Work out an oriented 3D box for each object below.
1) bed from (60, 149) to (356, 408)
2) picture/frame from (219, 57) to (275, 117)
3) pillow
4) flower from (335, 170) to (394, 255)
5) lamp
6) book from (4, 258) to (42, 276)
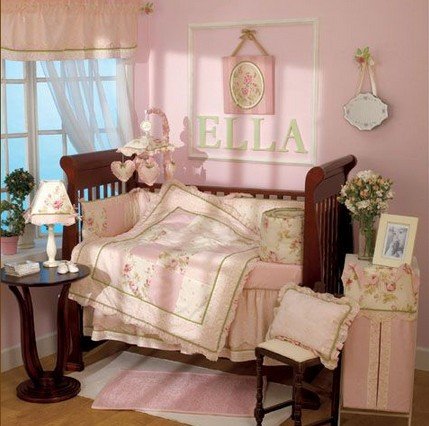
[{"bbox_3d":[-0.095,0.309,3.176,1.661,1.593,1.039,2,0,8],"label":"bed"},{"bbox_3d":[0.263,-0.956,3.347,0.387,0.460,0.046,3,6,29],"label":"picture/frame"},{"bbox_3d":[0.461,0.492,2.067,0.113,0.359,0.399,30,-14,-40],"label":"pillow"},{"bbox_3d":[0.804,0.011,2.366,0.240,0.446,0.259,-2,-7,-14],"label":"flower"},{"bbox_3d":[-0.937,0.063,2.596,0.287,0.500,0.182,-2,5,-23],"label":"lamp"},{"bbox_3d":[-1.046,0.299,2.495,0.205,0.062,0.184,-3,7,-38],"label":"book"}]
